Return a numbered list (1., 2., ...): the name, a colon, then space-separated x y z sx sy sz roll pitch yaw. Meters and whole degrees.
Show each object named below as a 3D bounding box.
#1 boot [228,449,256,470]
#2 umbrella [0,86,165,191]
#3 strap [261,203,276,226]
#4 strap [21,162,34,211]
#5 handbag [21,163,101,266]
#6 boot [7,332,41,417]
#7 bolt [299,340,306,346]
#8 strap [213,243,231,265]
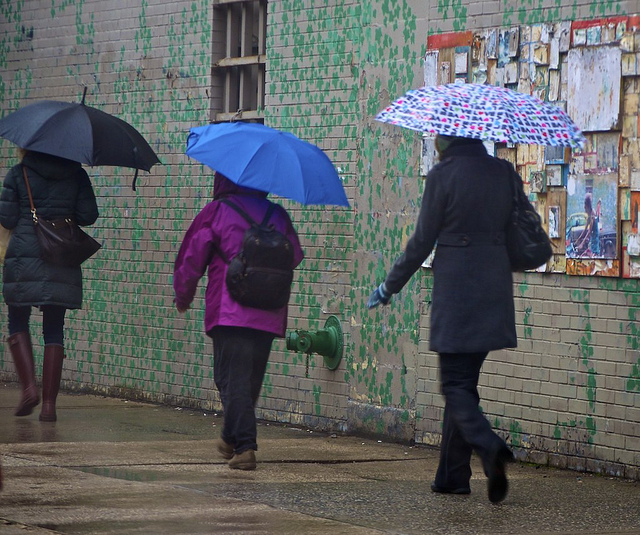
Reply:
1. boot: -0.533 1.339 9.433 0.086 0.166 0.213 4 -1 -42
2. umbrella: -2.132 -1.176 11.408 0.774 0.427 0.788 29 7 40
3. strap: -0.378 -0.397 9.705 0.046 0.214 0.029 18 -38 9
4. strap: -2.459 -0.673 11.309 0.047 0.515 0.071 -14 -16 -4
5. handbag: -2.197 -0.447 11.381 0.670 0.814 0.266 2 0 -15
6. boot: -2.511 0.874 11.443 0.318 0.684 0.340 -4 11 -30
7. bolt: -0.151 0.628 11.408 0.055 0.047 0.012 3 1 35
8. strap: -0.695 -0.109 9.547 0.021 0.158 0.023 -37 -15 37
